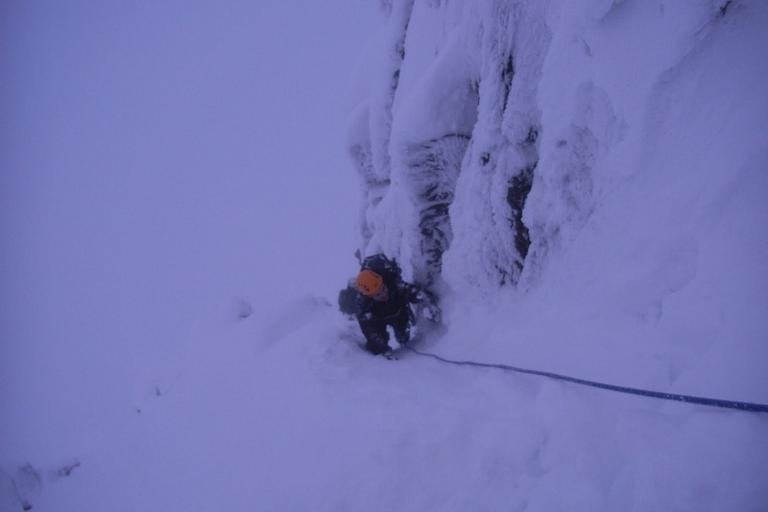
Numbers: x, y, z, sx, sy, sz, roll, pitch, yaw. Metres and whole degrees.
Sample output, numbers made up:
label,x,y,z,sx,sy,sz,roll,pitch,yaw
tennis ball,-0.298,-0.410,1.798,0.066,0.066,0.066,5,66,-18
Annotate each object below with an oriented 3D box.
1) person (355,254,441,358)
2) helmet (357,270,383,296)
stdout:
label,x,y,z,sx,sy,sz,roll,pitch,yaw
person,0.080,0.540,10.050,0.932,1.237,0.459,4,-16,-28
helmet,-0.169,0.285,9.771,0.254,0.251,0.218,5,7,26
